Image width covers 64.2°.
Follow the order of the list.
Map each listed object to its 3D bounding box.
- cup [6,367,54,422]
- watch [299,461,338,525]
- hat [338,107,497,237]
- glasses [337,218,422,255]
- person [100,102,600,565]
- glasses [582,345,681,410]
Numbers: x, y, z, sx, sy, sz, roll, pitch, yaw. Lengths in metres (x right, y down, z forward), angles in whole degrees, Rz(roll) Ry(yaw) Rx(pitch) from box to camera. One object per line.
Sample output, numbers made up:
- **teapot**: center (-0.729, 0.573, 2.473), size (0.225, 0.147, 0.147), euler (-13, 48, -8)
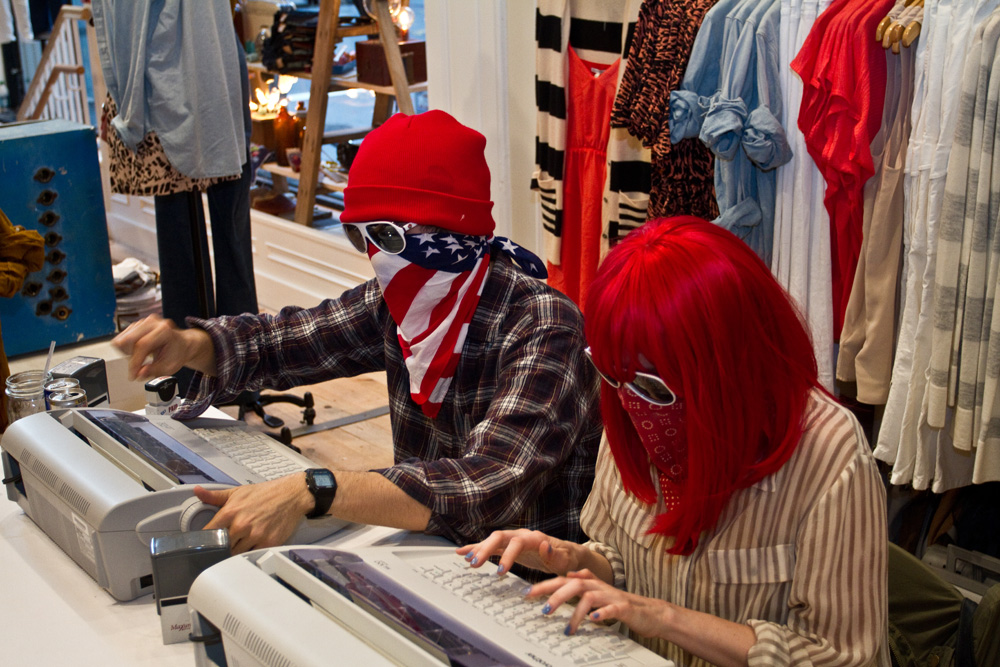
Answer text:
- **cup**: center (-1.315, 0.178, 2.153), size (0.114, 0.140, 0.190), euler (-10, 17, -31)
- **watch**: center (-0.371, 0.323, 1.614), size (0.069, 0.089, 0.057), euler (-5, 15, -13)
- **hat**: center (-0.199, -0.384, 1.993), size (0.424, 0.286, 0.414), euler (0, 5, -25)
- **glasses**: center (-0.290, -0.234, 1.891), size (0.113, 0.046, 0.119), euler (8, 18, 35)
- **person**: center (-0.426, -0.078, 2.352), size (1.221, 1.701, 1.082), euler (-9, 15, -27)
- **glasses**: center (0.280, 0.099, 1.432), size (0.127, 0.038, 0.125), euler (-29, 42, -32)
